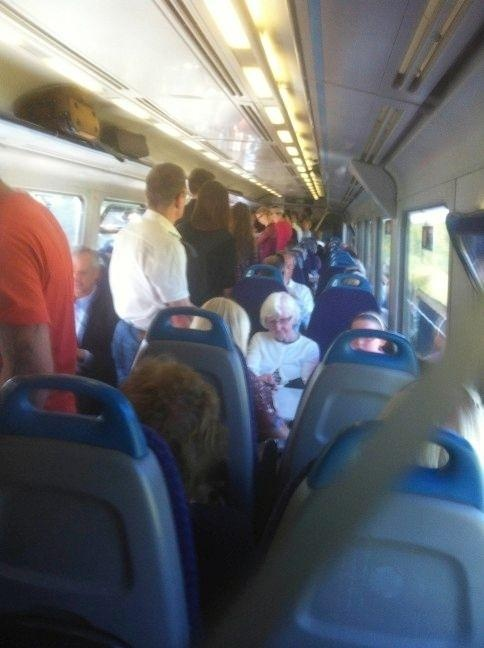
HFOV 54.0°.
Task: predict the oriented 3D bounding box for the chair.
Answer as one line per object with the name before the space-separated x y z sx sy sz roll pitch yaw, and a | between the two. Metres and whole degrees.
chair | 0.006 0.322 1.057 0.792 0.811 0.629 3 32 7

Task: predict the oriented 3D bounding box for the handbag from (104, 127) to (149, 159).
handbag | -0.251 -0.397 1.030 0.044 0.060 0.088 20 20 31

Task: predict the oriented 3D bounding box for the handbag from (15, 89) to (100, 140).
handbag | -0.343 -0.417 0.931 0.054 0.083 0.178 13 12 40
